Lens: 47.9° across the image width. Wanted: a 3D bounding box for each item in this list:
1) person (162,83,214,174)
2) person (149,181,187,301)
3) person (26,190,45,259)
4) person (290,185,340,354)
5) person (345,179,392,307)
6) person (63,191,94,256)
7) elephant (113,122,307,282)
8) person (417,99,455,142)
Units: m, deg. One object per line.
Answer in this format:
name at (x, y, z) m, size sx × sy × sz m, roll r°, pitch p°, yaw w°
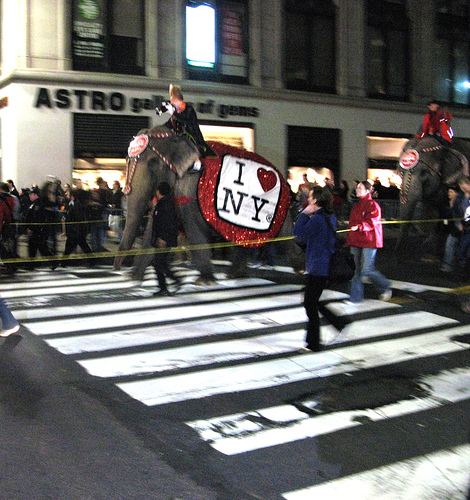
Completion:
person at (-0.792, -2.217, 9.475) m, size 0.948 × 1.263 × 0.681 m, roll -18°, pitch 21°, yaw -33°
person at (-1.175, -0.211, 9.176) m, size 0.586 × 1.958 × 1.425 m, roll 0°, pitch 5°, yaw -7°
person at (-4.747, -0.579, 12.611) m, size 0.398 × 1.627 × 0.565 m, roll -1°, pitch 6°, yaw -19°
person at (0.826, 0.214, 5.600) m, size 0.451 × 1.764 × 0.298 m, roll 1°, pitch 6°, yaw 5°
person at (1.999, -0.091, 8.000) m, size 0.671 × 1.856 × 0.715 m, roll 3°, pitch 6°, yaw 17°
person at (-3.942, -0.667, 13.288) m, size 0.645 × 1.569 × 0.962 m, roll 0°, pitch 5°, yaw -11°
elephant at (-0.266, -0.729, 9.933) m, size 4.005 × 2.493 × 1.414 m, roll 8°, pitch 1°, yaw 3°
person at (4.749, -3.069, 12.500) m, size 0.712 × 0.932 × 1.520 m, roll 3°, pitch 5°, yaw 19°
